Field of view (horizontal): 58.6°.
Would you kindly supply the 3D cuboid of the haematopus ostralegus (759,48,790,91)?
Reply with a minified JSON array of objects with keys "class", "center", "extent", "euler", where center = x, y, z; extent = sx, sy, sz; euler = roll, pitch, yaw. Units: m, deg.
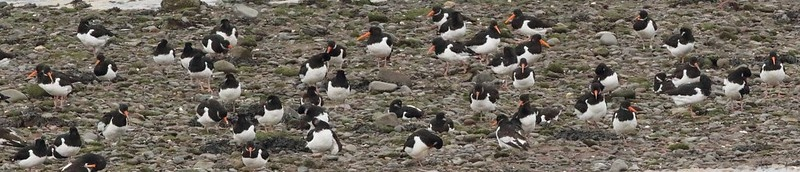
[{"class":"haematopus ostralegus","center":[46.663,-2.126,88.174],"extent":[4.080,4.734,1.600],"euler":[-11,8,-29]}]

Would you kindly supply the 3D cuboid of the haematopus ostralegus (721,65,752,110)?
[{"class":"haematopus ostralegus","center":[41.789,-0.101,87.650],"extent":[4.487,4.531,3.550],"euler":[-1,3,-43]}]
